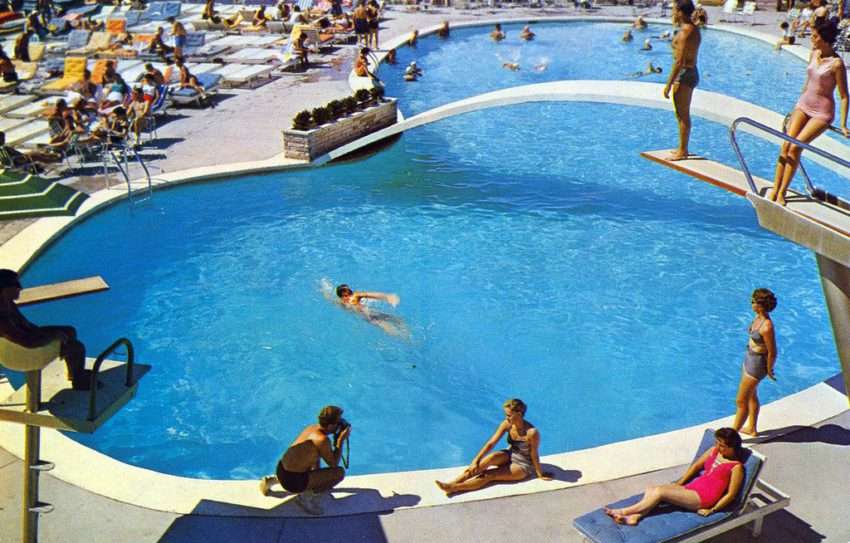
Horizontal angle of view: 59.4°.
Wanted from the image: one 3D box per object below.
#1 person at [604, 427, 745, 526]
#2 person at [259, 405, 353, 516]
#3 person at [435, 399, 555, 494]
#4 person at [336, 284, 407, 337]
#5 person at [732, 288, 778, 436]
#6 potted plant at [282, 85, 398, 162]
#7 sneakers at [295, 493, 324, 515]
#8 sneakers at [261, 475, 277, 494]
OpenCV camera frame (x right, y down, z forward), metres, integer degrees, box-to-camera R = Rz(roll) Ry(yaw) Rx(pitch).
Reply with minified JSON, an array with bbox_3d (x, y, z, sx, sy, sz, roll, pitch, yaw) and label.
[{"bbox_3d":[3.370,2.824,10.134,2.089,1.036,0.846,-11,11,-6],"label":"person"},{"bbox_3d":[-1.739,2.728,10.927,1.306,1.425,0.946,8,4,5],"label":"person"},{"bbox_3d":[0.927,2.514,10.804,1.841,1.107,0.746,-5,10,-26],"label":"person"},{"bbox_3d":[-1.128,0.707,14.740,1.304,0.336,0.892,24,40,1],"label":"person"},{"bbox_3d":[4.911,1.389,10.994,0.480,2.131,1.026,10,36,23],"label":"person"},{"bbox_3d":[-2.278,-4.102,20.226,0.736,1.183,3.733,20,37,34],"label":"potted plant"},{"bbox_3d":[-1.642,3.261,10.487,0.316,0.222,0.316,-13,31,-14],"label":"sneakers"},{"bbox_3d":[-2.257,3.073,10.715,0.165,0.132,0.314,2,65,11],"label":"sneakers"}]
